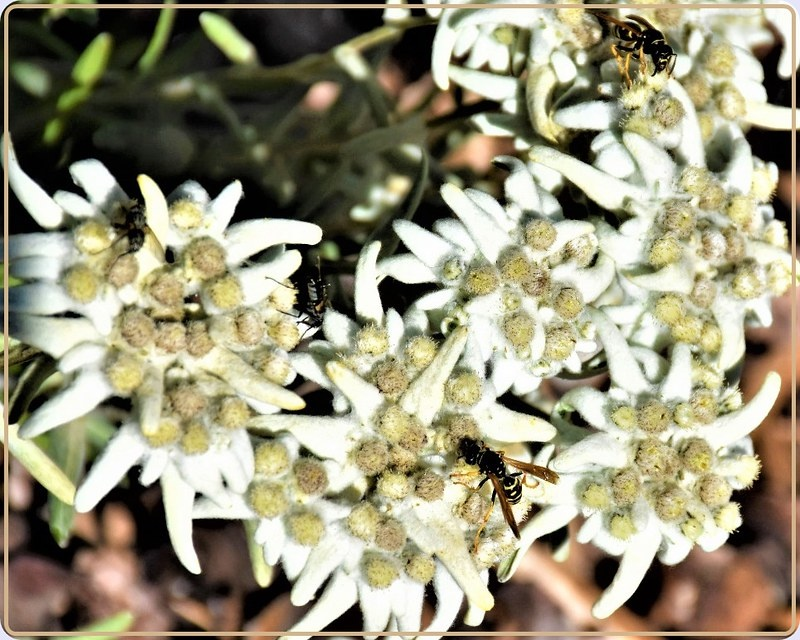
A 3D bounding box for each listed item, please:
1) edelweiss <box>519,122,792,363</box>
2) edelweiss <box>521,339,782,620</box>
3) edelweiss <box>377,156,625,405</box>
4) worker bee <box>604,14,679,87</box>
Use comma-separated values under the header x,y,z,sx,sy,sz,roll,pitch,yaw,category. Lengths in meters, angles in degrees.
x,y,z,sx,sy,sz,roll,pitch,yaw,category
0.937,-0.187,3.491,0.762,0.229,0.864,19,92,-5,edelweiss
0.851,0.501,3.412,0.821,0.242,1.008,8,99,-8,edelweiss
0.380,-0.135,3.406,0.707,0.279,0.802,-10,96,-6,edelweiss
0.822,-0.952,3.514,0.220,0.093,0.304,3,45,-24,worker bee
